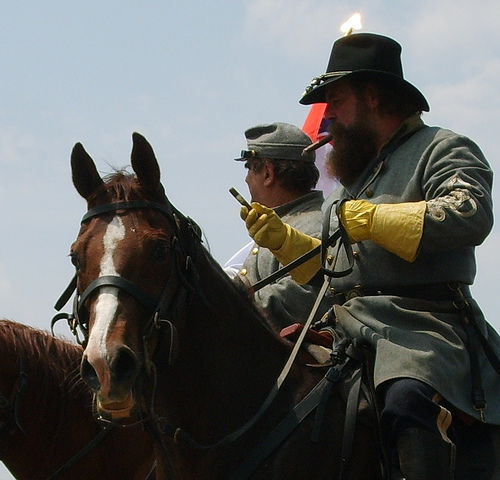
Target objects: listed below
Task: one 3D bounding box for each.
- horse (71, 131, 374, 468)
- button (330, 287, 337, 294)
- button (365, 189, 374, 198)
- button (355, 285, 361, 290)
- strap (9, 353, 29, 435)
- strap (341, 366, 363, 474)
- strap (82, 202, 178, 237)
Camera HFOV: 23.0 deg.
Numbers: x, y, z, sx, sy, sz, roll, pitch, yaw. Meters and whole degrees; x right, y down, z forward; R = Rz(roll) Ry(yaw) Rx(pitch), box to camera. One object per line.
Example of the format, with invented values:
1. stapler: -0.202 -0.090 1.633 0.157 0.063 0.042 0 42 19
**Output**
1. horse: -0.276 0.373 6.814 1.612 1.946 0.675 -2 -9 -30
2. button: 0.510 0.319 7.569 0.025 0.035 0.013 6 32 24
3. button: 0.726 -0.284 7.525 0.046 0.045 0.011 26 13 29
4. button: 0.643 0.287 7.361 0.025 0.024 0.006 7 31 14
5. strap: -1.492 0.994 7.787 0.086 0.490 0.085 -2 -14 -8
6. strap: 0.554 1.028 6.864 0.073 0.669 0.087 3 -30 14
7. strap: -0.664 -0.097 6.625 0.514 0.192 0.165 -6 -8 -6
